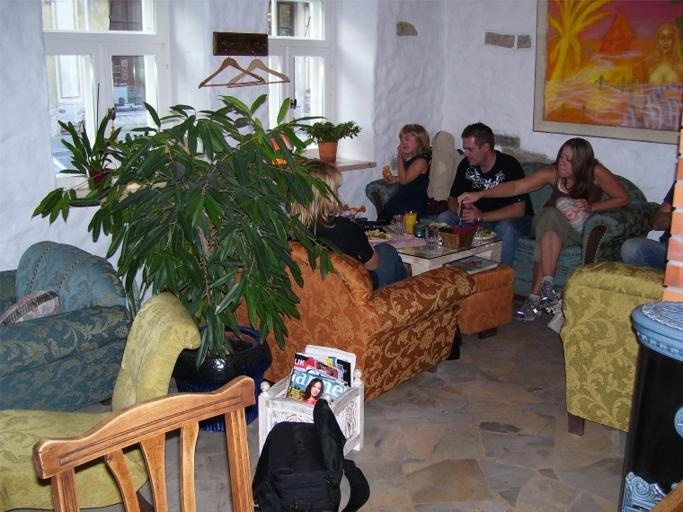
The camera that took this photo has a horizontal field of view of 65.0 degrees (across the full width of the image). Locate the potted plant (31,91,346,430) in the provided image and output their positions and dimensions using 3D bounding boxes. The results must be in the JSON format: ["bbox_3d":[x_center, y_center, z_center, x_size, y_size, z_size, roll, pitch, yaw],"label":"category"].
[{"bbox_3d":[-0.800,-0.002,2.714,1.388,1.627,1.039,-8,-18,7],"label":"potted plant"}]

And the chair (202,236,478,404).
[{"bbox_3d":[-0.019,0.301,3.177,0.890,0.649,0.712,10,12,39],"label":"chair"}]

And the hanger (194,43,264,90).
[{"bbox_3d":[-0.830,-1.549,4.390,0.700,0.326,0.077,-14,31,-29],"label":"hanger"}]

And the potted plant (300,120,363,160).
[{"bbox_3d":[-0.112,-1.110,5.158,0.557,0.387,0.460,-14,19,-42],"label":"potted plant"}]

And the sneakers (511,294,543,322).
[{"bbox_3d":[1.489,0.410,4.266,0.228,0.189,0.162,1,15,8],"label":"sneakers"}]

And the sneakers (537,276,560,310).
[{"bbox_3d":[1.645,0.314,4.257,0.111,0.134,0.311,-5,50,14],"label":"sneakers"}]

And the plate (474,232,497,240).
[{"bbox_3d":[1.140,-0.163,4.259,0.106,0.015,0.107,-8,24,-11],"label":"plate"}]

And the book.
[{"bbox_3d":[-0.094,0.579,2.619,0.292,0.231,0.107,4,-7,17],"label":"book"}]

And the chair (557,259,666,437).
[{"bbox_3d":[1.447,0.482,2.719,0.486,0.921,0.554,7,10,44],"label":"chair"}]
